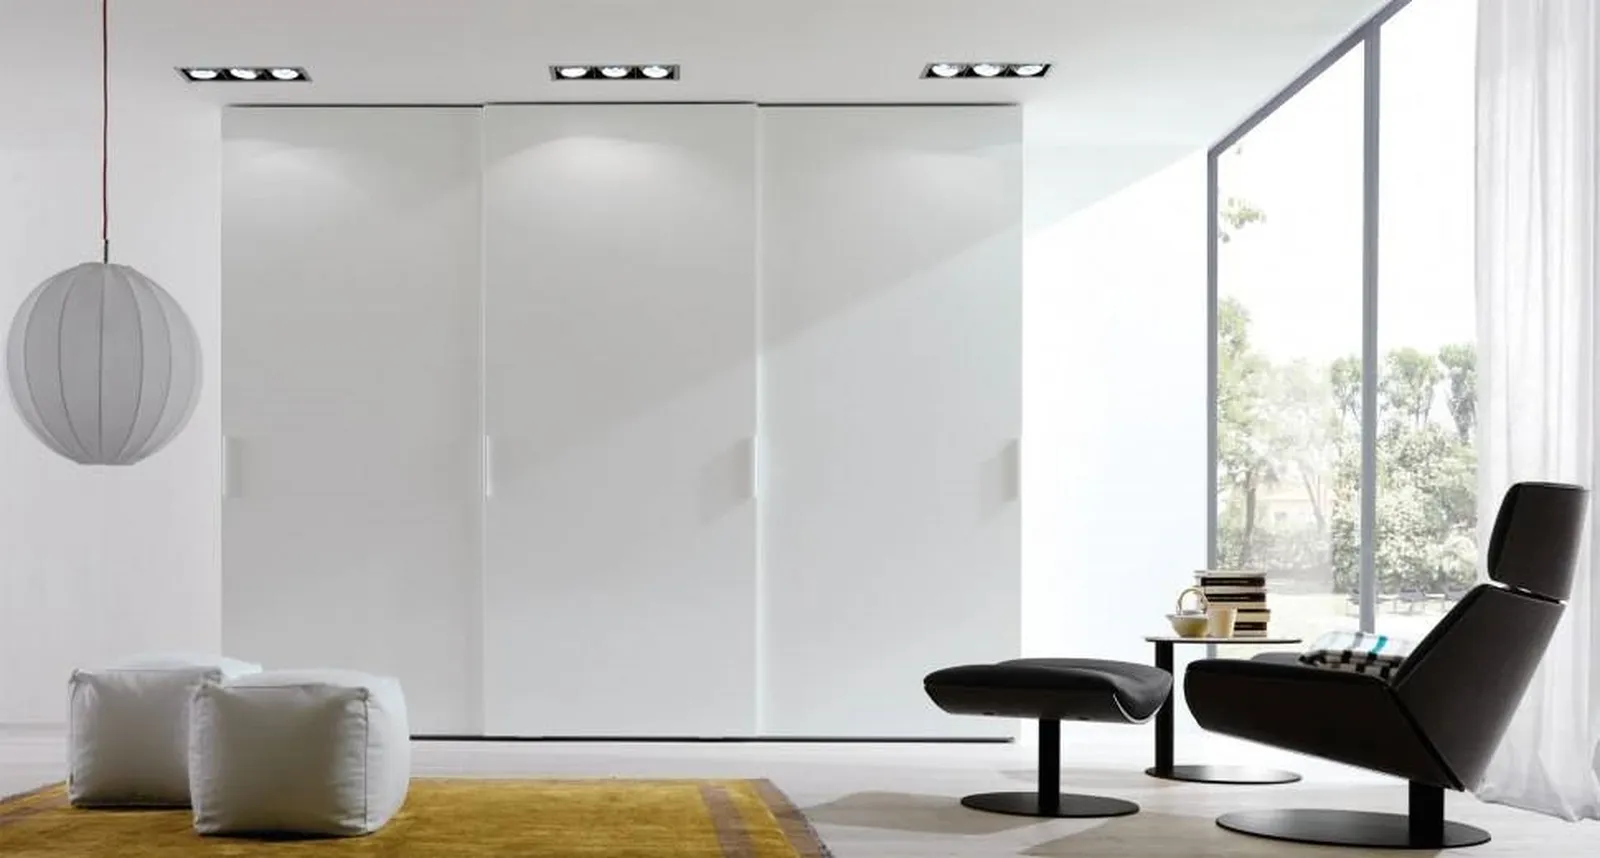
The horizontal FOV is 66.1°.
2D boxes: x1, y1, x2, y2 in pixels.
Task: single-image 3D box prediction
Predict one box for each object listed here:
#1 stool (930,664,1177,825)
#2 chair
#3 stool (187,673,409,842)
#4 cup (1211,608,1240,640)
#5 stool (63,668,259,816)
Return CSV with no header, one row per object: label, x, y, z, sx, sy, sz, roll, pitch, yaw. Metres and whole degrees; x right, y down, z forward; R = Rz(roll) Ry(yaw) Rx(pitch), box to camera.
stool,1.313,1.594,6.214,1.035,0.521,0.950,-1,-4,9
chair,3.154,1.322,6.403,2.101,1.650,1.647,-5,-11,28
stool,-2.284,1.483,5.795,0.965,0.564,0.805,-1,-4,8
cup,2.436,1.116,7.103,0.178,0.157,0.185,0,-7,0
stool,-3.074,1.470,5.924,0.825,0.568,0.735,1,-5,-7
